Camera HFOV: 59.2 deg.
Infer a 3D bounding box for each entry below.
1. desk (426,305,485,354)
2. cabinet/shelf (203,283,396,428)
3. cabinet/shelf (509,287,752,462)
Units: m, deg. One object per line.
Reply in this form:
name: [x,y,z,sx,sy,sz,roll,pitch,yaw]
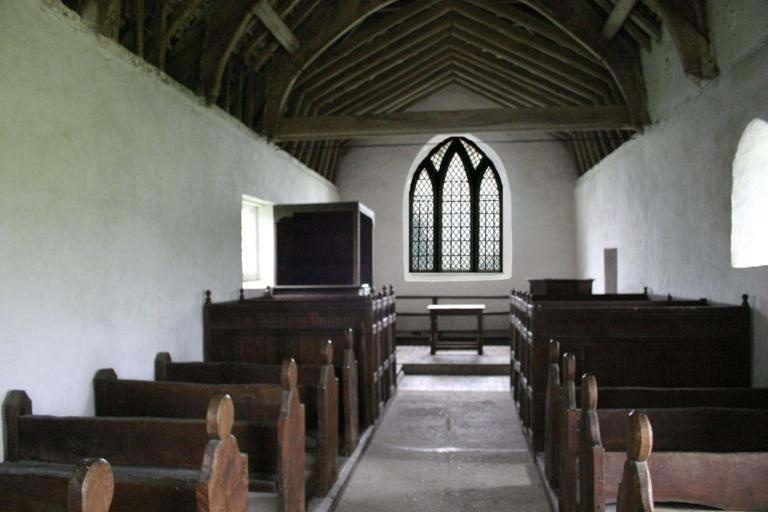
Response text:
desk: [1.278,1.263,11.809,0.949,0.850,0.601,-1,5,3]
cabinet/shelf: [-1.400,1.052,8.095,2.258,1.365,1.686,4,3,-32]
cabinet/shelf: [2.578,1.138,7.270,1.943,1.391,1.395,0,-2,5]
